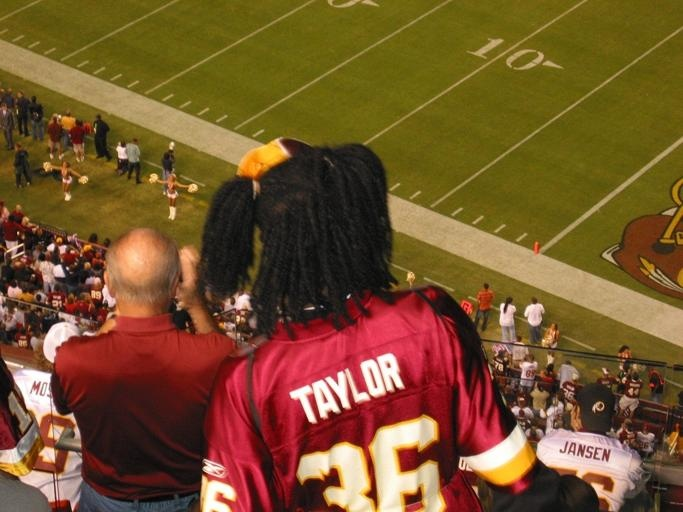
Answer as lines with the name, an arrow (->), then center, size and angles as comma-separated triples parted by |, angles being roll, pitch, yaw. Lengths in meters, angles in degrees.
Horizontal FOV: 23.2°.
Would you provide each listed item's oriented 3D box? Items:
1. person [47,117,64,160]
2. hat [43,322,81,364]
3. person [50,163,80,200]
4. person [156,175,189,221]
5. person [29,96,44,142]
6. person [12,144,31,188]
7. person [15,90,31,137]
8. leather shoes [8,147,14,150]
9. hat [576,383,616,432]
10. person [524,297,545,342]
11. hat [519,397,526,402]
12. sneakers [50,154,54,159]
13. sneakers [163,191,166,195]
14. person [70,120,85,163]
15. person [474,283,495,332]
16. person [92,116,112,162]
person -> -8.126, -3.347, 47.031 | 0.387, 1.374, 0.377 | -6, 35, -12
hat -> -4.777, 1.466, 28.061 | 0.503, 0.468, 0.742 | 5, 35, 3
person -> -7.638, -2.026, 45.750 | 0.994, 1.060, 0.282 | 1, 19, 5
person -> -4.649, -1.497, 45.447 | 1.201, 1.468, 0.371 | 1, 2, 32
person -> -8.819, -3.919, 47.881 | 0.375, 1.046, 1.370 | -3, 1, -11
person -> -8.934, -2.481, 46.251 | 0.469, 0.978, 1.211 | -4, 1, -11
person -> -9.238, -4.070, 47.975 | 0.407, 1.066, 1.223 | -3, 1, -11
leather shoes -> -9.543, -3.066, 47.772 | 0.178, 0.069, 0.125 | 3, 6, -5
hat -> 4.560, 2.785, 29.737 | 0.698, 1.195, 0.547 | 7, 13, 15
person -> 4.783, 1.658, 41.454 | 0.450, 1.300, 0.376 | -7, 27, -6
hat -> 3.496, 2.857, 32.342 | 0.079, 0.081, 0.140 | 2, 4, -13
sneakers -> -8.307, -2.823, 47.397 | 0.092, 0.169, 0.074 | -8, -32, 10
sneakers -> -4.946, -1.704, 46.166 | 0.050, 0.056, 0.129 | -1, 21, -7
person -> -7.471, -3.271, 46.969 | 0.442, 1.248, 0.409 | -1, 31, -4
person -> 3.529, 1.315, 41.929 | 0.438, 1.297, 0.374 | -4, 29, -20
person -> -6.829, -3.317, 47.136 | 0.471, 1.051, 1.588 | -3, 1, -8
